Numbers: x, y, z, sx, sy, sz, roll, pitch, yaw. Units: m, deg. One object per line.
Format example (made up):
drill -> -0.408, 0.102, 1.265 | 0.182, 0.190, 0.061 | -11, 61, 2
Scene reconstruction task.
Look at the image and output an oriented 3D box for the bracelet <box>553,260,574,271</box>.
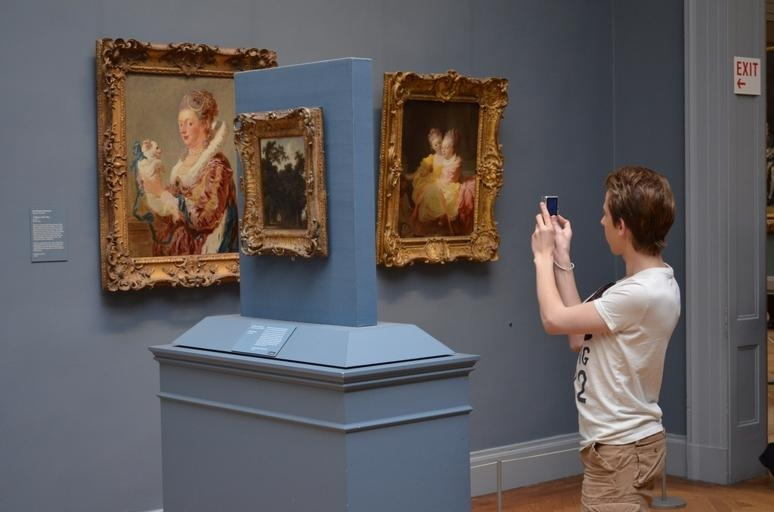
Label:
bracelet -> 1.127, 0.064, 4.569 | 0.096, 0.042, 0.090 | -2, 5, 14
